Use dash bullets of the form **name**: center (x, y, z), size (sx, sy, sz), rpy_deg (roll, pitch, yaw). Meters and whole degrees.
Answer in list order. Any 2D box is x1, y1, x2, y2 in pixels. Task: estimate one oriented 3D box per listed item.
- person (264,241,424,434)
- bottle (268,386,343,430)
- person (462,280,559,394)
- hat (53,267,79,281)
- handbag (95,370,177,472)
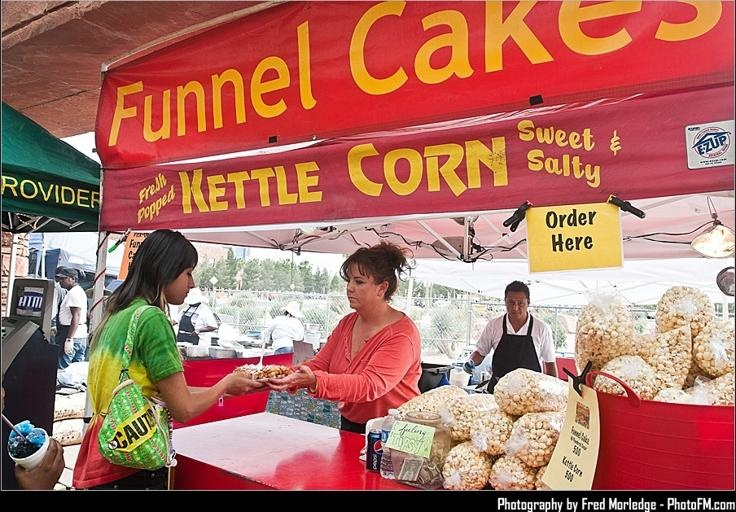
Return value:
- **person**: center (-0.052, 0.526, 3.294), size (0.787, 1.340, 0.875), rpy_deg (1, -7, 7)
- **bottle**: center (-0.463, 1.148, 3.723), size (0.671, 0.297, 0.136), rpy_deg (9, -3, 26)
- **person**: center (1.626, 0.840, 5.708), size (0.869, 1.094, 0.750), rpy_deg (-4, -9, 39)
- **hat**: center (-6.923, 0.410, 11.198), size (0.307, 0.153, 0.450), rpy_deg (7, -2, -3)
- **handbag**: center (-1.180, 0.866, 2.542), size (0.374, 0.533, 0.206), rpy_deg (6, -8, -27)
